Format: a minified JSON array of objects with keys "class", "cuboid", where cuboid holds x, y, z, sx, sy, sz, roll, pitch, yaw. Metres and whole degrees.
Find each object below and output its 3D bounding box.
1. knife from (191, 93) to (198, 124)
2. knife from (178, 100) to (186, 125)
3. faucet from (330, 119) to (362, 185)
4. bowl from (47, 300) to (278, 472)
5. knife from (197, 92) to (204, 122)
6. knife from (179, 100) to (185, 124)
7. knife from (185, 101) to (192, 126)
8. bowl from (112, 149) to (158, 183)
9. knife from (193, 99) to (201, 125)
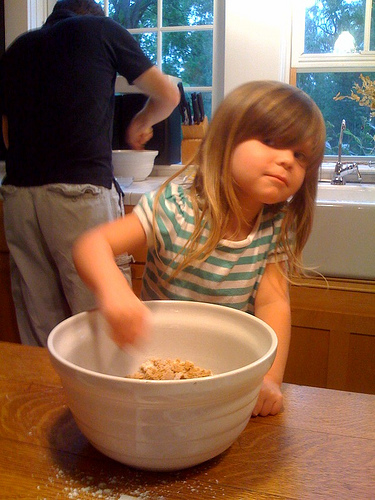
[{"class":"knife","cuboid":[0.032,-0.712,2.080,0.017,0.136,0.031,-9,18,12]},{"class":"knife","cuboid":[-0.019,-0.697,2.118,0.028,0.144,0.024,-26,42,-18]},{"class":"faucet","cuboid":[0.825,-0.509,2.091,0.144,0.366,0.366,3,7,21]},{"class":"bowl","cuboid":[-0.006,0.084,0.434,0.203,0.114,0.194,2,9,0]},{"class":"knife","cuboid":[0.076,-0.728,2.085,0.023,0.139,0.030,-15,40,0]},{"class":"knife","cuboid":[-0.025,-0.697,2.092,0.013,0.088,0.015,-28,31,-30]},{"class":"knife","cuboid":[0.014,-0.693,2.102,0.022,0.131,0.026,-23,17,-34]},{"class":"bowl","cuboid":[-0.277,-0.428,2.083,0.250,0.152,0.257,1,11,0]},{"class":"knife","cuboid":[0.049,-0.703,2.062,0.015,0.105,0.018,1,32,18]}]
